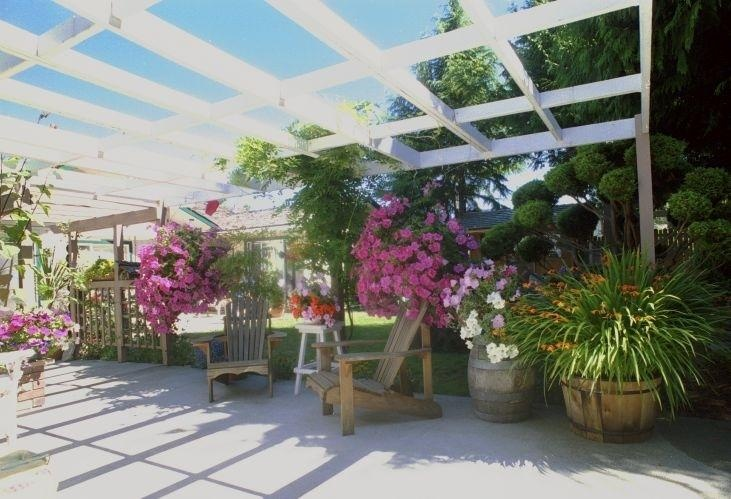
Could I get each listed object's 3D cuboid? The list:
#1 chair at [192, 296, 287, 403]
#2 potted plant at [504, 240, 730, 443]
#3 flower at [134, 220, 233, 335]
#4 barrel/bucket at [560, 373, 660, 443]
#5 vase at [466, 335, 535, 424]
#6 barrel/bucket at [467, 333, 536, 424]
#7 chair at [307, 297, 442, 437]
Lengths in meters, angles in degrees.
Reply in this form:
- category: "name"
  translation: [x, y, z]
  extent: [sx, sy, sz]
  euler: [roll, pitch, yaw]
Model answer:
- category: "chair"
  translation: [-1.629, 1.218, 6.623]
  extent: [1.101, 1.192, 1.200]
  euler: [-2, -2, -20]
- category: "potted plant"
  translation: [2.348, 0.864, 5.083]
  extent: [1.822, 1.485, 1.846]
  euler: [-4, -3, 40]
- category: "flower"
  translation: [-2.737, 0.454, 8.036]
  extent: [1.547, 1.538, 1.123]
  euler: [-6, -19, 21]
- category: "barrel/bucket"
  translation: [2.206, 1.425, 4.678]
  extent: [0.682, 0.409, 0.670]
  euler: [0, -8, 0]
- category: "vase"
  translation: [1.302, 1.356, 5.440]
  extent: [0.756, 0.709, 0.748]
  euler: [0, -4, -1]
- category: "barrel/bucket"
  translation: [1.486, 1.363, 5.518]
  extent: [0.844, 0.796, 0.833]
  euler: [1, -7, 0]
- category: "chair"
  translation: [0.065, 1.253, 5.603]
  extent: [1.285, 1.148, 1.017]
  euler: [-2, -1, -21]
